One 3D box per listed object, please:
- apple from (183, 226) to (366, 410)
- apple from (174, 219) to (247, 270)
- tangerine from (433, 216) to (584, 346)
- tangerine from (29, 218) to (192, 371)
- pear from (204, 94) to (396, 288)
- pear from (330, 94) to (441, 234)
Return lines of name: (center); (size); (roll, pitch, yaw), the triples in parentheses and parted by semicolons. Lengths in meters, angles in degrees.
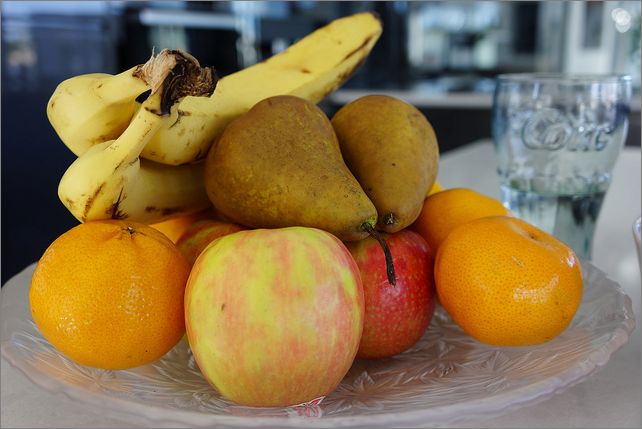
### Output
apple: (-0.050, 0.095, 0.711); (0.180, 0.178, 0.177); (-2, -3, -40)
apple: (-0.129, 0.031, 0.749); (0.057, 0.074, 0.062); (21, -1, 14)
tangerine: (0.209, 0.075, 0.738); (0.146, 0.116, 0.141); (19, 18, -6)
tangerine: (-0.225, 0.092, 0.713); (0.156, 0.139, 0.157); (19, 12, 33)
pear: (-0.047, -0.036, 0.756); (0.260, 0.116, 0.147); (31, 55, 27)
pear: (0.096, -0.053, 0.833); (0.146, 0.198, 0.145); (0, -11, -42)
